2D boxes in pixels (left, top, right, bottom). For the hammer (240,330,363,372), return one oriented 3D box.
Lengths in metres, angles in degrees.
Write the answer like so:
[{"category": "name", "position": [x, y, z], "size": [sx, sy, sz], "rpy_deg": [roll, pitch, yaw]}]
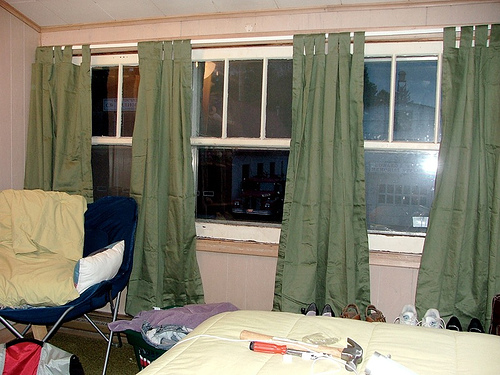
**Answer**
[{"category": "hammer", "position": [0.246, 0.733, 2.043], "size": [0.426, 0.048, 0.203], "rpy_deg": [9, 6, 7]}]
